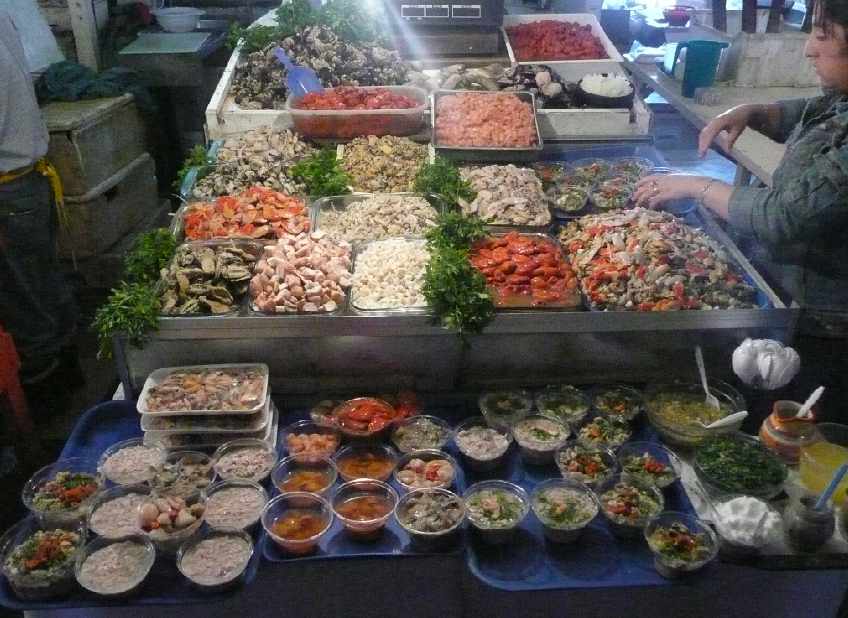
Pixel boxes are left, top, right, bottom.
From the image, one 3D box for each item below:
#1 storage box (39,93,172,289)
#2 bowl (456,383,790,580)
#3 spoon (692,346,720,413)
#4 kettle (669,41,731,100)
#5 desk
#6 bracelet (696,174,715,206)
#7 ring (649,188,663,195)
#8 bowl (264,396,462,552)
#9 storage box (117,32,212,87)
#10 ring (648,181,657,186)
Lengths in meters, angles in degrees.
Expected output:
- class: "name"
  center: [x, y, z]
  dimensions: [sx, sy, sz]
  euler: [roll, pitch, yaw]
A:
- class: "storage box"
  center: [-1.814, -0.668, 3.628]
  dimensions: [0.704, 0.745, 0.924]
  euler: [-5, 34, -1]
- class: "bowl"
  center: [0.862, 0.750, 2.887]
  dimensions: [1.402, 0.288, 0.856]
  euler: [-4, 35, -3]
- class: "spoon"
  center: [1.361, 0.341, 3.163]
  dimensions: [0.052, 0.070, 0.320]
  euler: [-5, 74, -28]
- class: "kettle"
  center: [1.687, -1.484, 4.008]
  dimensions: [0.349, 0.305, 0.199]
  euler: [-10, 42, 3]
- class: "desk"
  center: [1.820, -1.154, 3.944]
  dimensions: [1.499, 0.323, 0.925]
  euler: [6, 39, 13]
- class: "bracelet"
  center: [1.524, -0.649, 3.502]
  dimensions: [0.112, 0.111, 0.124]
  euler: [29, 37, 23]
- class: "ring"
  center: [1.327, -0.672, 3.690]
  dimensions: [0.046, 0.015, 0.043]
  euler: [-6, 67, 15]
- class: "bowl"
  center: [-0.245, 0.720, 2.915]
  dimensions: [0.829, 0.234, 0.753]
  euler: [-4, 35, -2]
- class: "storage box"
  center: [-1.521, -1.471, 3.879]
  dimensions: [0.535, 0.162, 0.344]
  euler: [4, 47, -1]
- class: "ring"
  center: [1.317, -0.725, 3.727]
  dimensions: [0.041, 0.035, 0.011]
  euler: [-2, -12, 36]
